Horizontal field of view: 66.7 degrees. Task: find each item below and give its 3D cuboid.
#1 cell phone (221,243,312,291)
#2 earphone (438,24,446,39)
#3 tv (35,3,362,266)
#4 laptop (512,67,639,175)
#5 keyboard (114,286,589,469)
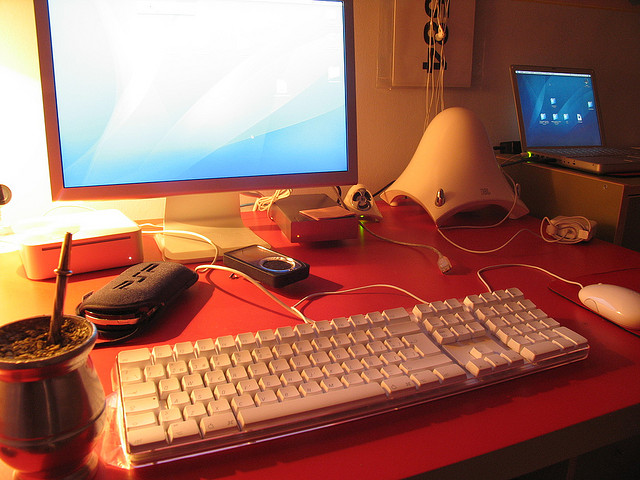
[{"bbox_3d":[-0.109,0.031,0.925,0.083,0.027,0.142,-19,30,-38],"label":"cell phone"},{"bbox_3d":[0.353,-0.605,1.412,0.022,0.039,0.009,-14,18,-32],"label":"earphone"},{"bbox_3d":[-0.242,-0.220,0.975,0.569,0.437,0.146,-5,25,-21],"label":"tv"},{"bbox_3d":[0.747,-0.362,1.449,0.325,0.228,0.279,-10,31,-23],"label":"laptop"},{"bbox_3d":[0.055,0.163,0.673,0.643,0.083,0.158,-9,16,-16],"label":"keyboard"}]
